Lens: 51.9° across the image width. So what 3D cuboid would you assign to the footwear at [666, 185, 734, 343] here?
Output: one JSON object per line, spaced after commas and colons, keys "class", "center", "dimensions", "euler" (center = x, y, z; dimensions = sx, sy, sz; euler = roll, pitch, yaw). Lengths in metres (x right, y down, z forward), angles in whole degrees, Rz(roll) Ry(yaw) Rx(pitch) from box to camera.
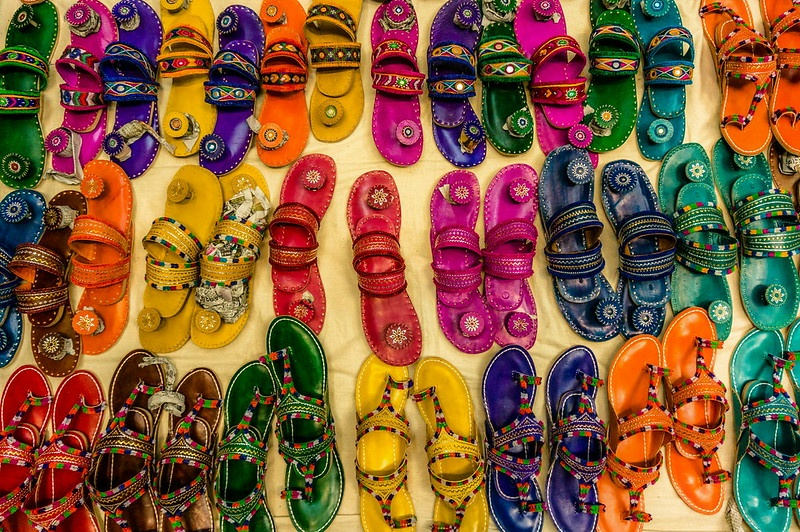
{"class": "footwear", "center": [2.443, -0.025, 6.668], "dimensions": [0.437, 1.383, 0.378], "euler": [-2, 3, 7]}
